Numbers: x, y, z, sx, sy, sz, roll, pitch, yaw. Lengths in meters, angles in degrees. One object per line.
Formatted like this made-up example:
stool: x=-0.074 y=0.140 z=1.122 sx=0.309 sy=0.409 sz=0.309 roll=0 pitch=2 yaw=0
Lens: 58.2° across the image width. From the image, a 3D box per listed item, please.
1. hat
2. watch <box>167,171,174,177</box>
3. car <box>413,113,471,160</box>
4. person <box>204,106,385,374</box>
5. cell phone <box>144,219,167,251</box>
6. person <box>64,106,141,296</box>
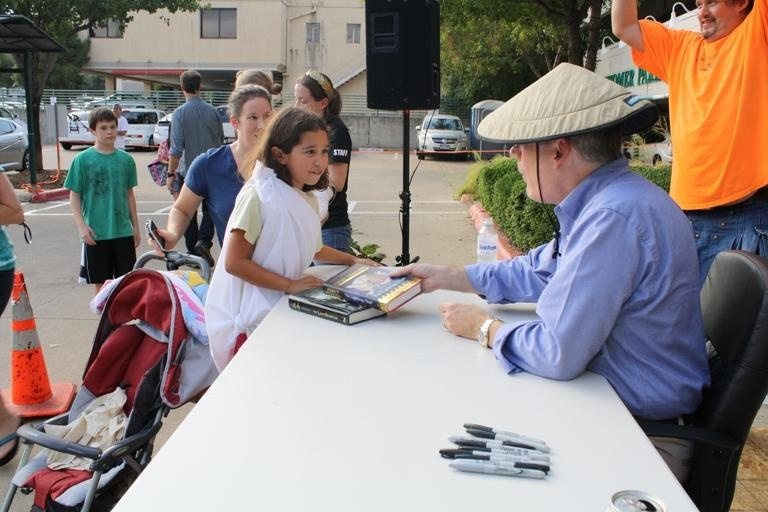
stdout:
hat: x=0.825 y=-0.721 z=3.308 sx=0.461 sy=0.367 sz=0.973 roll=-1 pitch=10 yaw=-7
watch: x=-2.495 y=-0.969 z=8.084 sx=0.093 sy=0.066 sz=0.110 roll=2 pitch=6 yaw=1
car: x=1.966 y=-4.019 z=22.230 sx=1.674 sy=1.519 sz=3.585 roll=0 pitch=8 yaw=0
person: x=-0.618 y=-0.160 z=3.897 sx=0.605 sy=1.537 sz=0.551 roll=1 pitch=3 yaw=11
cell phone: x=-1.363 y=-0.118 z=4.148 sx=0.035 sy=0.161 sz=0.157 roll=-25 pitch=39 yaw=0
person: x=-2.612 y=-0.497 z=6.517 sx=0.597 sy=1.764 sz=0.689 roll=10 pitch=17 yaw=33
